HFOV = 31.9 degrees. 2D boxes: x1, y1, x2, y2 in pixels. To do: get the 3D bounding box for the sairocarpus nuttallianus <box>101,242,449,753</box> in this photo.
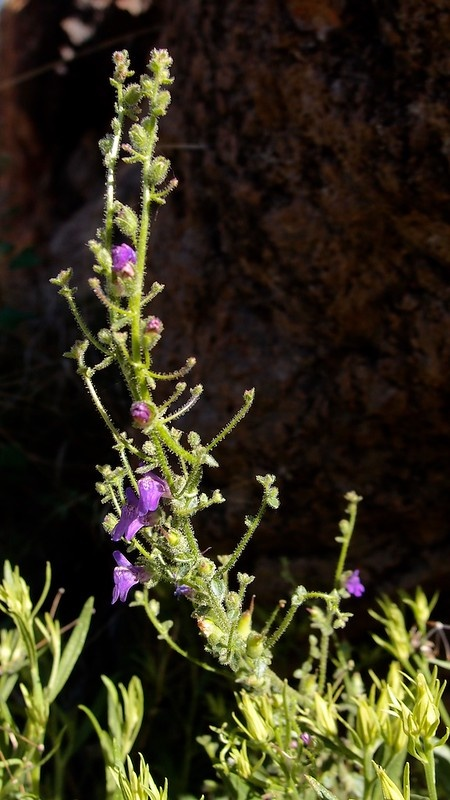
[{"bbox_3d":[0.025,0.101,0.842,0.288,0.536,0.346,15,26,11],"label":"sairocarpus nuttallianus"}]
